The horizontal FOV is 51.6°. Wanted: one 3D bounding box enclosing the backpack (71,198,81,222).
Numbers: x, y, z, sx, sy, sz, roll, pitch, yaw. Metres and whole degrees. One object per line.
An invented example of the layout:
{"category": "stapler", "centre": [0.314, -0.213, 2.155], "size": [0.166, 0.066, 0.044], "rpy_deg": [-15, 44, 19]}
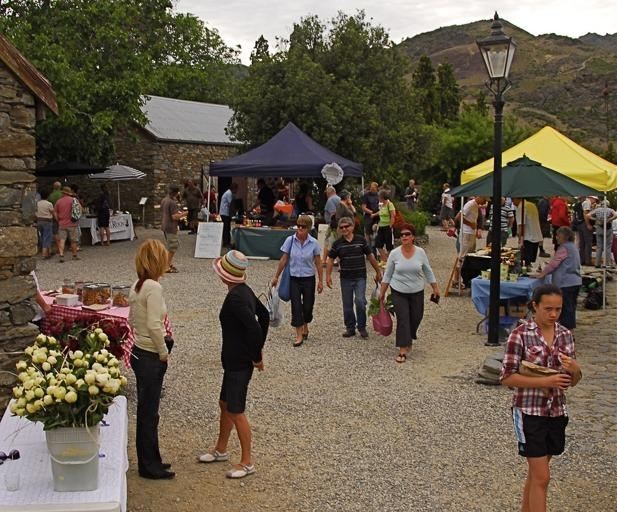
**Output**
{"category": "backpack", "centre": [-6.051, -1.209, 16.578], "size": [0.201, 0.635, 0.624], "rpy_deg": [-2, 11, -13]}

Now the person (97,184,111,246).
{"category": "person", "centre": [-6.569, -1.334, 20.392], "size": [0.422, 1.943, 1.221], "rpy_deg": [-2, 11, -18]}

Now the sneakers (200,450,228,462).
{"category": "sneakers", "centre": [-0.873, 1.833, 5.906], "size": [0.262, 0.128, 0.103], "rpy_deg": [5, 5, -7]}

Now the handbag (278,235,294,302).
{"category": "handbag", "centre": [-0.339, 0.200, 9.310], "size": [0.205, 0.897, 0.428], "rpy_deg": [1, 10, 2]}

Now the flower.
{"category": "flower", "centre": [-1.679, 0.821, 4.331], "size": [0.708, 0.776, 0.667], "rpy_deg": [7, 13, -34]}

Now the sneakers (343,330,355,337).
{"category": "sneakers", "centre": [0.605, 1.199, 9.831], "size": [0.072, 0.100, 0.234], "rpy_deg": [0, -6, 19]}

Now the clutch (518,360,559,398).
{"category": "clutch", "centre": [1.682, 0.872, 4.689], "size": [0.246, 0.106, 0.255], "rpy_deg": [6, 1, 23]}

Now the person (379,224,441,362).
{"category": "person", "centre": [1.371, 0.488, 8.708], "size": [0.702, 1.772, 0.520], "rpy_deg": [-1, 10, -11]}

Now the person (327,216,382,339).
{"category": "person", "centre": [0.688, 0.307, 9.749], "size": [0.830, 1.911, 0.842], "rpy_deg": [1, 10, 3]}

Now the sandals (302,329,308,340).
{"category": "sandals", "centre": [-0.061, 1.174, 9.539], "size": [0.052, 0.185, 0.069], "rpy_deg": [1, 11, 5]}

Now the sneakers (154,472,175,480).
{"category": "sneakers", "centre": [-1.240, 1.886, 5.486], "size": [0.165, 0.083, 0.065], "rpy_deg": [-1, 12, -9]}

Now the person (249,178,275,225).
{"category": "person", "centre": [-1.376, -1.436, 19.682], "size": [0.533, 1.770, 0.554], "rpy_deg": [0, 0, -23]}

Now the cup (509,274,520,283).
{"category": "cup", "centre": [3.130, 0.329, 9.678], "size": [0.129, 0.107, 0.109], "rpy_deg": [-1, 8, 0]}

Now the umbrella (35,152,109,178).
{"category": "umbrella", "centre": [-7.911, -3.031, 21.131], "size": [2.071, 0.920, 3.804], "rpy_deg": [-4, 13, -24]}

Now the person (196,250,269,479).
{"category": "person", "centre": [-0.658, 0.948, 5.737], "size": [0.550, 1.938, 0.543], "rpy_deg": [8, 12, 36]}

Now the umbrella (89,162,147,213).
{"category": "umbrella", "centre": [-7.260, -2.412, 24.420], "size": [1.841, 1.996, 1.962], "rpy_deg": [-3, 16, -12]}

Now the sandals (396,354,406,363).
{"category": "sandals", "centre": [1.265, 1.356, 8.674], "size": [0.140, 0.113, 0.267], "rpy_deg": [2, 12, 8]}

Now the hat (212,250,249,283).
{"category": "hat", "centre": [-0.717, 0.127, 5.799], "size": [0.250, 0.176, 0.310], "rpy_deg": [-6, 47, -38]}

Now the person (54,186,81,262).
{"category": "person", "centre": [-6.305, -0.833, 16.657], "size": [0.606, 1.929, 1.460], "rpy_deg": [-3, 11, -21]}

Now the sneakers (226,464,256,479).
{"category": "sneakers", "centre": [-0.603, 1.875, 5.611], "size": [0.182, 0.084, 0.107], "rpy_deg": [1, 3, -22]}

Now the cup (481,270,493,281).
{"category": "cup", "centre": [2.759, 0.295, 9.937], "size": [0.139, 0.120, 0.148], "rpy_deg": [-1, 3, 0]}

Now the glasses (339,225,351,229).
{"category": "glasses", "centre": [0.525, -0.426, 9.269], "size": [0.140, 0.097, 0.107], "rpy_deg": [4, 11, 17]}
